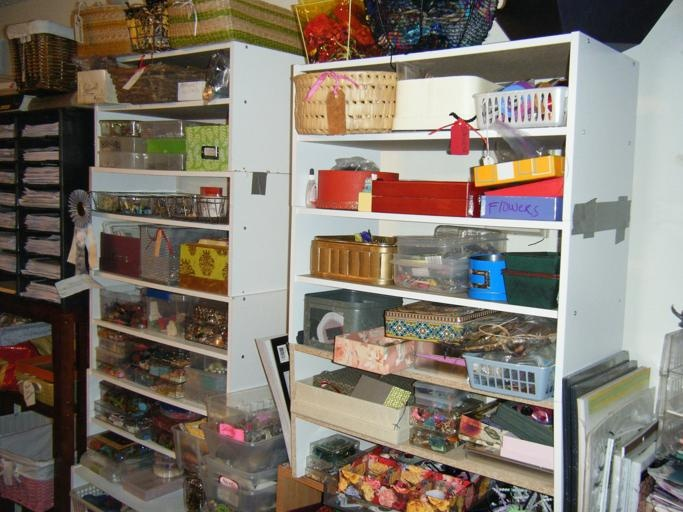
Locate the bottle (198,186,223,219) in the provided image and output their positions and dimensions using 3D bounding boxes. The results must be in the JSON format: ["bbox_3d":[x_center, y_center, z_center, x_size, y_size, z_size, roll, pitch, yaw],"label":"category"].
[{"bbox_3d":[-0.624,-0.282,2.806,0.166,0.160,0.157,1,7,0],"label":"bottle"}]

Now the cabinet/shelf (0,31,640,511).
[{"bbox_3d":[0.088,0.126,2.508,2.060,2.001,0.661,6,8,35],"label":"cabinet/shelf"}]

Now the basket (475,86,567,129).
[{"bbox_3d":[0.592,-0.486,1.820,0.224,0.077,0.147,7,16,34],"label":"basket"}]

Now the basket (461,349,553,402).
[{"bbox_3d":[0.594,0.409,1.920,0.248,0.100,0.159,1,-1,41],"label":"basket"}]
